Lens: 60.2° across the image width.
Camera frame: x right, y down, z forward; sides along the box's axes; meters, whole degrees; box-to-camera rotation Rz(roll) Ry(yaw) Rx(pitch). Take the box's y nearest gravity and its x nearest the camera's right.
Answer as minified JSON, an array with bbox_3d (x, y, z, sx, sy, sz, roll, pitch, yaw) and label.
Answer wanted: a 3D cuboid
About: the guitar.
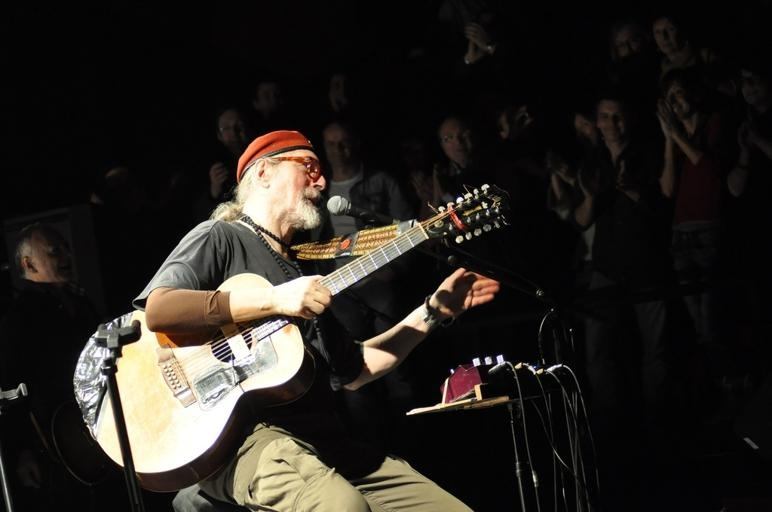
[{"bbox_3d":[-0.274,0.462,4.839,3.886,1.483,0.588,-24,-8,-24],"label":"guitar"}]

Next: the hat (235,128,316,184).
[{"bbox_3d":[-0.825,-0.880,5.252,0.621,0.224,0.532,-12,9,42],"label":"hat"}]

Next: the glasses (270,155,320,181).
[{"bbox_3d":[-0.618,-0.676,5.015,0.223,0.080,0.217,0,-15,5],"label":"glasses"}]
